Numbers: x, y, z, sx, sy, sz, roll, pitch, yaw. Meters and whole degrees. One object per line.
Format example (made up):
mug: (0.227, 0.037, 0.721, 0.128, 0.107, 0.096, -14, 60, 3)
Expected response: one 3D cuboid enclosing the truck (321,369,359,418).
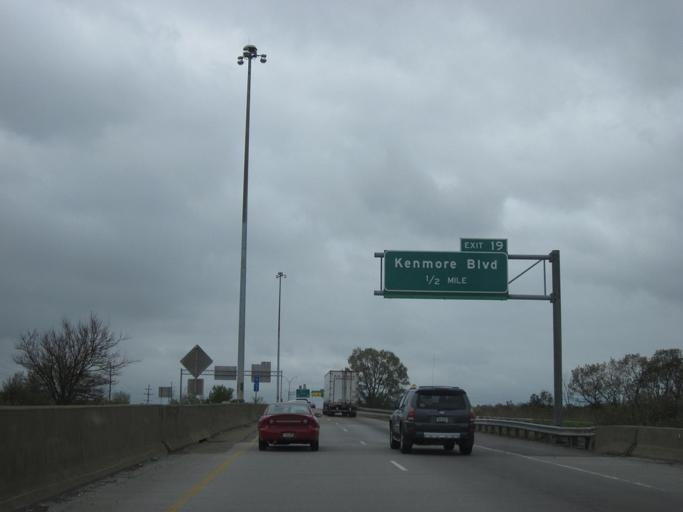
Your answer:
truck: (-0.085, 11.860, 76.320, 2.284, 4.040, 5.471, 3, -11, -9)
